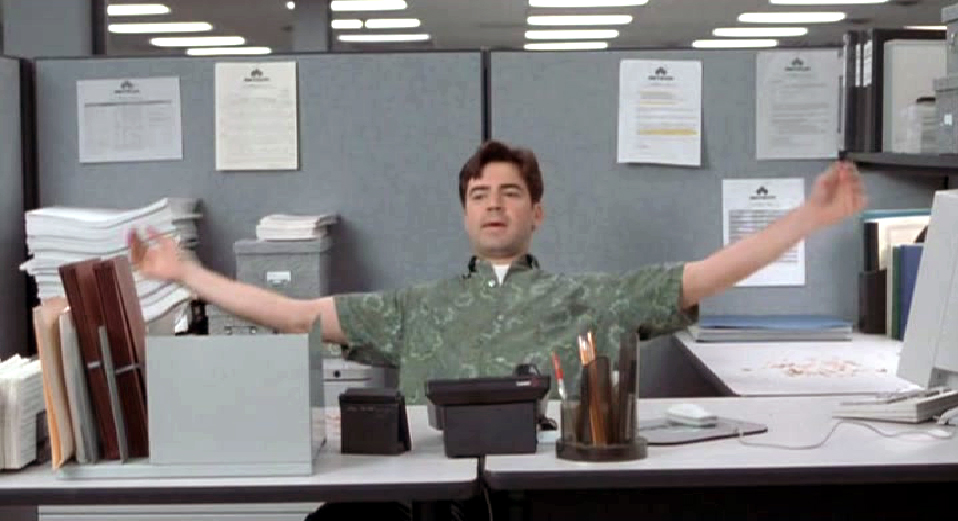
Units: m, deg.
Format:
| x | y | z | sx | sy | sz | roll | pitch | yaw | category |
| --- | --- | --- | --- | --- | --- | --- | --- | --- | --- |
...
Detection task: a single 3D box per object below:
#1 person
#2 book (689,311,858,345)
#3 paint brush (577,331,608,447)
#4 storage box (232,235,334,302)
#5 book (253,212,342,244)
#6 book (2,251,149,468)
| x | y | z | sx | sy | sz | roll | pitch | yaw | category |
| --- | --- | --- | --- | --- | --- | --- | --- | --- | --- |
| 0.075 | 0.024 | 3.403 | 2.415 | 0.901 | 0.513 | -1 | 6 | 0 | person |
| 1.185 | 0.277 | 3.832 | 1.044 | 0.133 | 0.249 | -1 | -1 | 9 | book |
| 0.327 | 0.376 | 2.739 | 0.069 | 0.302 | 0.100 | -5 | 7 | -33 | paint brush |
| -0.804 | 0.029 | 3.787 | 0.314 | 0.196 | 0.284 | 0 | 1 | -1 | storage box |
| -0.750 | -0.135 | 3.935 | 0.400 | 0.098 | 0.252 | 1 | 7 | 1 | book |
| -1.186 | 0.302 | 2.834 | 0.129 | 0.635 | 0.505 | 1 | -4 | -9 | book |
